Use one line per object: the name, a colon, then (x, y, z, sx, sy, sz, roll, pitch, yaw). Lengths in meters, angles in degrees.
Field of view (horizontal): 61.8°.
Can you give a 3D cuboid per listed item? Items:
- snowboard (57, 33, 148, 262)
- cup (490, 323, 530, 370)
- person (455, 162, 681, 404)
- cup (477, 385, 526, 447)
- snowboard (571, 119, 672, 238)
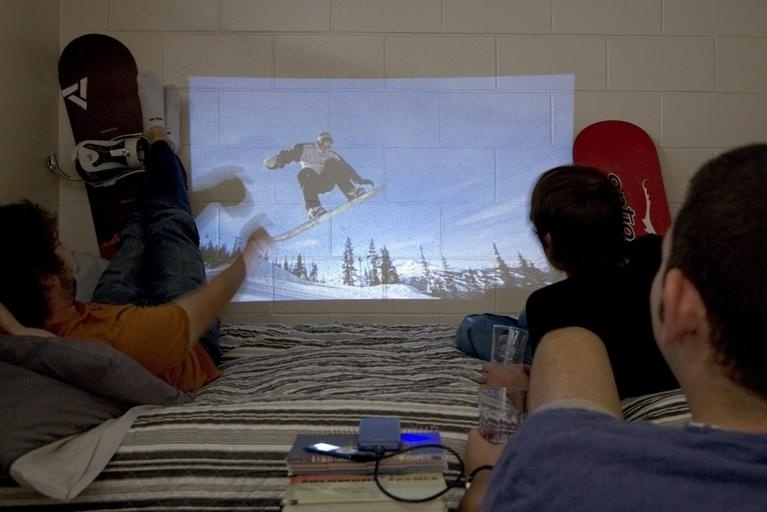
snowboard: (-1.729, -0.452, 4.051, 0.534, 0.354, 2.332, -21, -18, -28)
cup: (0.452, 0.327, 2.306, 0.126, 0.159, 0.130, 1, 2, 0)
person: (0.643, 0.018, 2.157, 0.447, 0.735, 0.724, -20, 15, 0)
cup: (0.384, 0.494, 2.006, 0.141, 0.163, 0.180, 1, -3, 34)
snowboard: (1.374, -0.338, 3.928, 0.441, 0.196, 1.396, 2, -20, 22)
